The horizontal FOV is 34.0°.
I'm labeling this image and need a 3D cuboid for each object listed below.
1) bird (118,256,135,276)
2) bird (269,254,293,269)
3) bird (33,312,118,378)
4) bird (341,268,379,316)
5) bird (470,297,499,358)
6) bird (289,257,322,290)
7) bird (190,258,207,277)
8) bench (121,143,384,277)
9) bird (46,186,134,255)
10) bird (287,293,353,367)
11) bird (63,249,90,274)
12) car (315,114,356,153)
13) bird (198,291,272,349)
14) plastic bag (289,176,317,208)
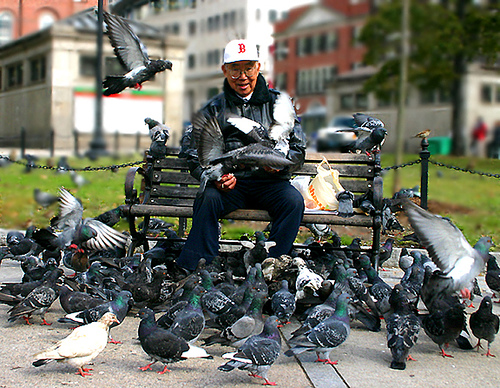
[{"bbox_3d":[-1.307,0.768,8.546,0.138,0.060,0.176,-6,26,-18],"label":"bird"},{"bbox_3d":[0.327,0.692,8.134,0.101,0.163,0.063,46,-11,4],"label":"bird"},{"bbox_3d":[-1.514,1.304,7.051,0.715,0.516,0.402,0,4,-23],"label":"bird"},{"bbox_3d":[1.087,0.973,8.029,0.364,0.442,0.279,2,4,8],"label":"bird"},{"bbox_3d":[2.174,1.242,7.619,0.248,0.536,0.275,3,4,16],"label":"bird"},{"bbox_3d":[0.544,0.808,8.084,0.242,0.275,0.411,0,4,-24],"label":"bird"},{"bbox_3d":[-0.483,0.737,8.008,0.128,0.174,0.052,33,4,38],"label":"bird"},{"bbox_3d":[0.060,0.154,8.885,2.720,1.129,0.956,2,18,12],"label":"bench"},{"bbox_3d":[-1.747,0.319,8.605,0.492,0.622,1.181,-5,31,-39],"label":"bird"},{"bbox_3d":[0.678,1.218,7.248,0.339,0.625,0.736,4,5,33],"label":"bird"},{"bbox_3d":[-1.741,0.728,8.442,0.233,0.104,0.303,21,-11,12],"label":"bird"},{"bbox_3d":[2.331,-1.668,22.763,1.257,1.023,2.385,0,1,8],"label":"car"},{"bbox_3d":[-0.126,1.164,7.300,0.706,0.493,0.271,-3,0,8],"label":"bird"},{"bbox_3d":[0.588,-0.013,8.965,0.326,0.409,0.338,-1,-1,4],"label":"plastic bag"}]
